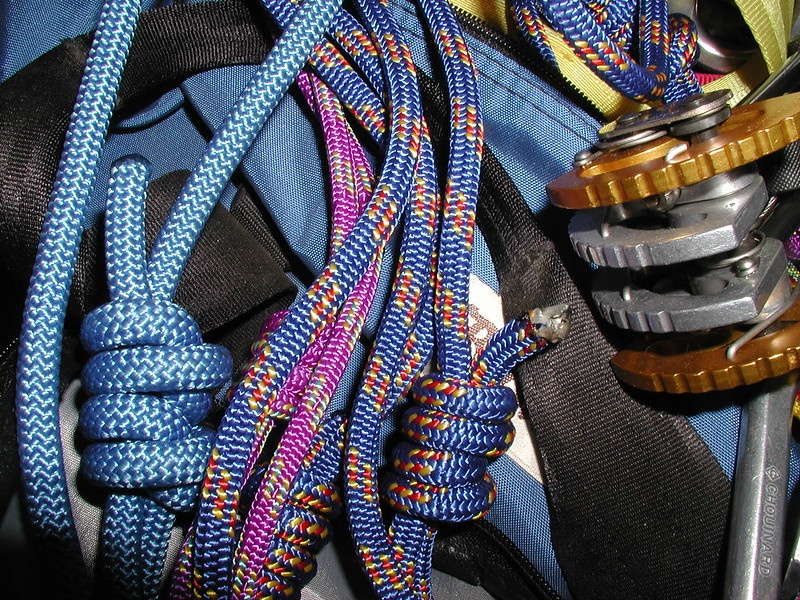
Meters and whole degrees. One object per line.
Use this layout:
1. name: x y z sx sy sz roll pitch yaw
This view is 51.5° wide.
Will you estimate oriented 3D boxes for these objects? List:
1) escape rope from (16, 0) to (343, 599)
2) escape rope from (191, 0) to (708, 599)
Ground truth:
1. escape rope: -0.256 -0.151 0.848 0.204 0.828 0.077 10 -8 -40
2. escape rope: 0.065 -0.036 1.069 0.465 0.762 0.206 -17 11 -7
